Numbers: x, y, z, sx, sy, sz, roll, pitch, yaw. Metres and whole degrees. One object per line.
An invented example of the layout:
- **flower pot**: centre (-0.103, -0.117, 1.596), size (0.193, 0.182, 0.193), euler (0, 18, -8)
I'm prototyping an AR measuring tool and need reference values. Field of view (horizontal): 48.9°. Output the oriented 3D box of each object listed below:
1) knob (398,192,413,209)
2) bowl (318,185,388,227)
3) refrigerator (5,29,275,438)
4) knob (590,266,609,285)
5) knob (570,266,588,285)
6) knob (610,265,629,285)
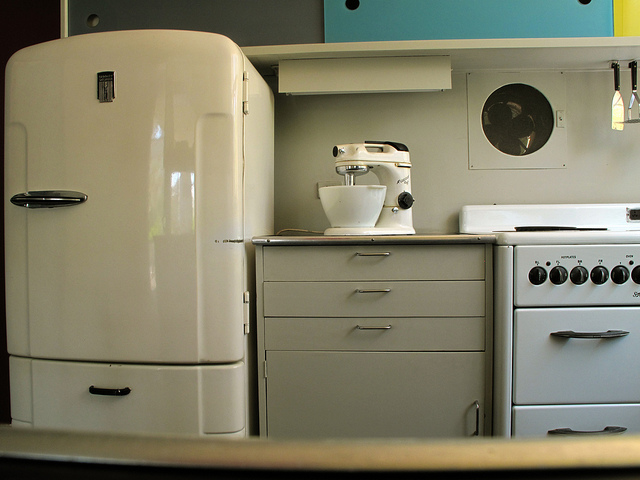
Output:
- **knob**: centre (0.386, -0.182, 3.178), size (0.064, 0.067, 0.021), euler (-2, 6, -7)
- **bowl**: centre (0.128, -0.135, 3.217), size (0.328, 0.171, 0.281), euler (-2, 8, 7)
- **refrigerator**: centre (-0.782, -0.020, 3.235), size (0.981, 1.820, 0.797), euler (1, 3, 2)
- **knob**: centre (1.135, 0.141, 2.873), size (0.061, 0.074, 0.072), euler (8, 5, 8)
- **knob**: centre (1.053, 0.140, 2.874), size (0.072, 0.069, 0.017), euler (1, 3, -5)
- **knob**: centre (1.218, 0.136, 2.876), size (0.071, 0.087, 0.038), euler (1, -1, 4)
